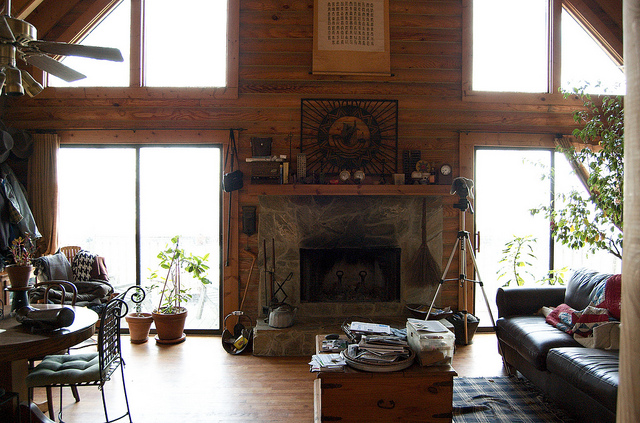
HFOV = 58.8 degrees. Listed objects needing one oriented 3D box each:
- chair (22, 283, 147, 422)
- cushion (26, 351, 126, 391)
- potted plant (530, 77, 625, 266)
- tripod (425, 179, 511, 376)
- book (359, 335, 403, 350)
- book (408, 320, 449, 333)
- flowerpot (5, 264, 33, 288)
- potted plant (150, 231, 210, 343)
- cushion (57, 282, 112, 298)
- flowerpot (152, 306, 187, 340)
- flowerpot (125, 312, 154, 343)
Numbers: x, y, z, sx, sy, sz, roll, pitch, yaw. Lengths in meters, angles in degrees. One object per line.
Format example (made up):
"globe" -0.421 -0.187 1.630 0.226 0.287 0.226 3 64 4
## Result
"chair" -3.037 1.812 7.148 1.700 2.031 1.219 3 -5 -8
"cushion" -2.823 1.757 6.369 0.807 0.303 0.387 -1 -1 -1
"potted plant" 3.688 -0.622 8.034 1.122 2.575 1.377 -2 -1 27
"tripod" 2.024 0.845 7.988 0.946 2.285 1.217 -2 -1 7
"book" 0.672 1.449 6.264 0.469 0.113 0.128 -2 -1 9
"book" 1.205 1.285 6.357 0.381 0.103 0.312 -1 -2 -12
"flowerpot" -3.357 0.727 6.339 0.260 0.211 0.256 -2 -7 25
"potted plant" -2.098 1.114 8.323 0.793 1.537 0.585 -1 -1 -30
"cushion" -3.197 1.079 7.904 0.377 0.116 0.361 2 -1 0
"flowerpot" -2.142 1.585 8.125 0.497 0.351 0.479 0 -7 0
"flowerpot" -2.581 1.662 8.114 0.372 0.431 0.236 -1 -1 -17
